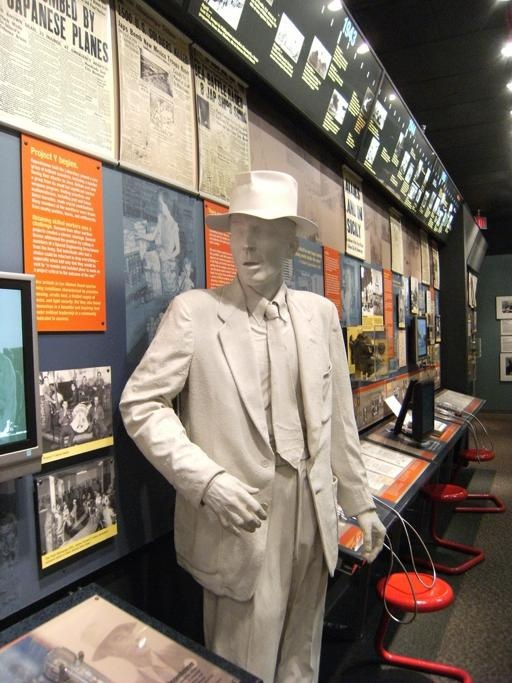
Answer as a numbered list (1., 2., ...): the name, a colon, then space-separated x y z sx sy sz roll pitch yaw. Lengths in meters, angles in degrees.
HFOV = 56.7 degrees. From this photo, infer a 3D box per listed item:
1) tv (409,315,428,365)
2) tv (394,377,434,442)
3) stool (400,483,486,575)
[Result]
1. tv: 1.694 -0.030 5.008 0.127 0.575 0.368 -1 8 21
2. tv: 1.143 0.448 3.425 0.177 0.439 0.325 6 8 34
3. stool: 1.325 1.265 3.357 0.427 0.600 0.501 -10 -4 14
